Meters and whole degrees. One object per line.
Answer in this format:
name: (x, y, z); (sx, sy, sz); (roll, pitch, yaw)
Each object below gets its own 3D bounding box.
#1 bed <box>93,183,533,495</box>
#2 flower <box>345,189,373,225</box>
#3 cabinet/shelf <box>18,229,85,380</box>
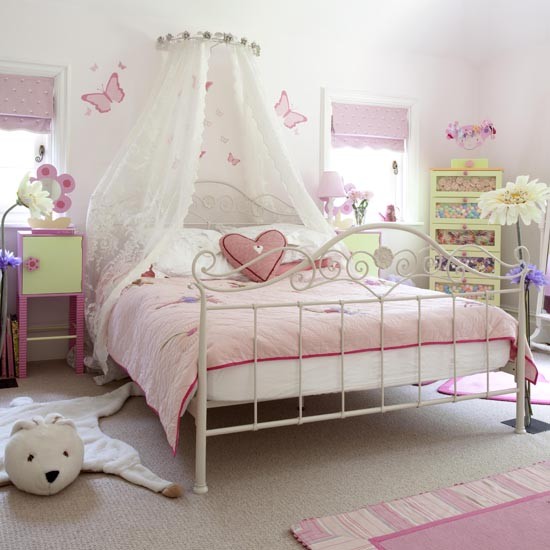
bed: (0.092, 0.201, 2.857); (1.660, 0.940, 1.541); (-2, 7, -24)
flower: (0.707, -0.572, 4.694); (0.346, 0.323, 0.288); (2, 10, 17)
cabinet/shelf: (-1.429, 0.148, 3.560); (0.398, 0.885, 0.457); (-2, 8, -20)
